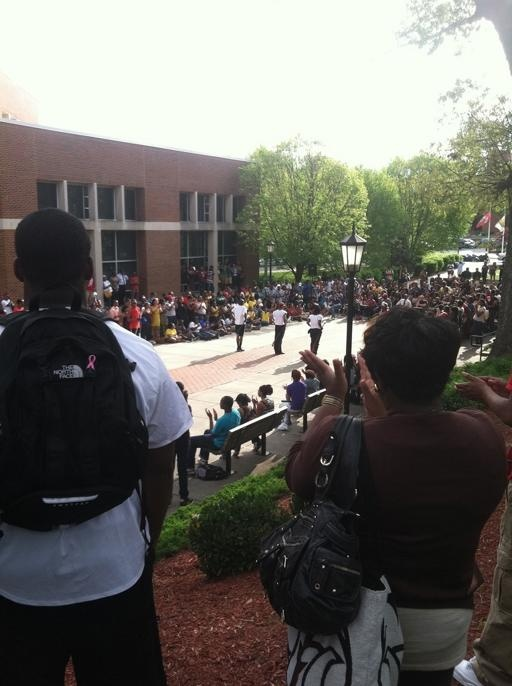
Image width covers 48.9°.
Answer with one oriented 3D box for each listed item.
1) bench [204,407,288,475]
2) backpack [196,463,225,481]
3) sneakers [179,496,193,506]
[{"bbox_3d":[-0.158,1.722,9.946,0.608,0.871,1.948,3,7,29],"label":"bench"},{"bbox_3d":[-0.726,2.177,9.493,0.271,0.142,0.347,4,-2,39],"label":"backpack"},{"bbox_3d":[-1.035,2.357,8.325,0.211,0.127,0.088,-14,18,-35],"label":"sneakers"}]
